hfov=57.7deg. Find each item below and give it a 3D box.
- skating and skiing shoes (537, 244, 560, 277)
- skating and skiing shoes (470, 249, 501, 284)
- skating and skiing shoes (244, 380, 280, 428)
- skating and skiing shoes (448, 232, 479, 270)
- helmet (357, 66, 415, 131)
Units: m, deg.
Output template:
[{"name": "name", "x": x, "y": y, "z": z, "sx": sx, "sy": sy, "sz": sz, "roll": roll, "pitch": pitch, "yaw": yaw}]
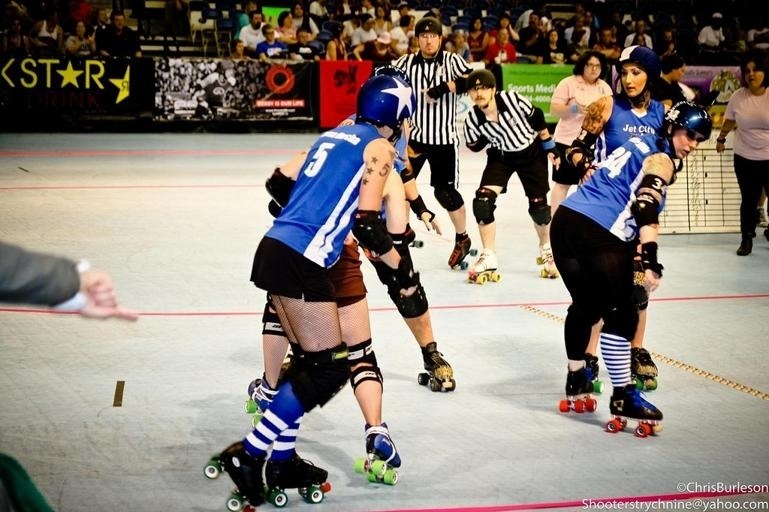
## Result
[{"name": "skating and skiing shoes", "x": 1.421, "y": 0.042, "z": 6.030, "sx": 0.174, "sy": 0.194, "sz": 0.373, "roll": -7, "pitch": 25, "yaw": 2}, {"name": "skating and skiing shoes", "x": 0.947, "y": 0.118, "z": 6.650, "sx": 0.171, "sy": 0.196, "sz": 0.481, "roll": -1, "pitch": -3, "yaw": 28}, {"name": "skating and skiing shoes", "x": -0.668, "y": 0.802, "z": 3.999, "sx": 0.152, "sy": 0.222, "sz": 0.406, "roll": 10, "pitch": 10, "yaw": -17}, {"name": "skating and skiing shoes", "x": 0.802, "y": -0.119, "z": 7.222, "sx": 0.175, "sy": 0.492, "sz": 0.196, "roll": 7, "pitch": -32, "yaw": 26}, {"name": "helmet", "x": 0.000, "y": -0.774, "z": 3.473, "sx": 0.205, "sy": 0.279, "sz": 0.254, "roll": 7, "pitch": 12, "yaw": 37}]
